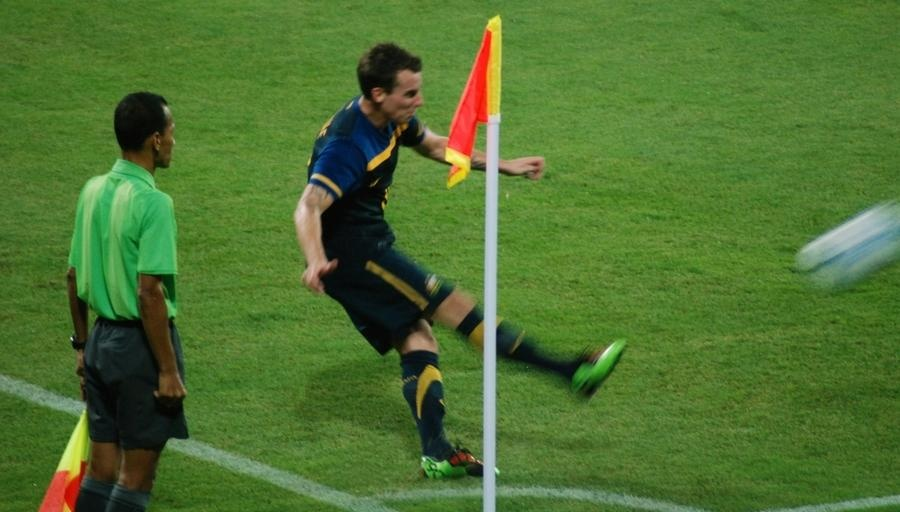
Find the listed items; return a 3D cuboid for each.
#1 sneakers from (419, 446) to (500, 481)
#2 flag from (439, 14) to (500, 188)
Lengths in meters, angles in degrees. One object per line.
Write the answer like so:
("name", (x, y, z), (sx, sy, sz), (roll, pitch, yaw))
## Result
("sneakers", (0.093, 1.390, 8.580), (0.628, 0.225, 0.192), (0, 9, -4))
("flag", (0.162, -0.952, 8.038), (0.307, 1.121, 0.557), (6, 35, 0))
